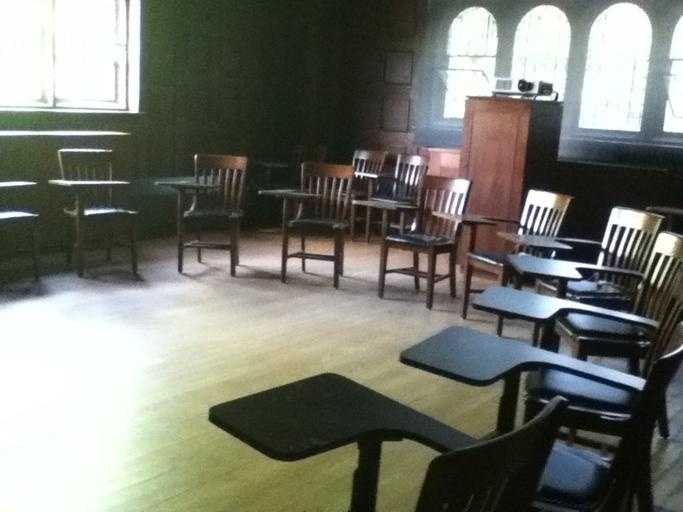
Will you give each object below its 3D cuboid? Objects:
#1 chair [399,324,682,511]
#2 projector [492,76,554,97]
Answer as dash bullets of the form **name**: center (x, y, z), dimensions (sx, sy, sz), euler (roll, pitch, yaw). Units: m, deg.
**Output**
- **chair**: center (0.591, 0.483, 1.946), dimensions (0.570, 0.364, 0.490), euler (10, 15, 16)
- **projector**: center (1.741, -1.605, 5.538), dimensions (0.364, 0.160, 0.489), euler (4, 8, 3)
